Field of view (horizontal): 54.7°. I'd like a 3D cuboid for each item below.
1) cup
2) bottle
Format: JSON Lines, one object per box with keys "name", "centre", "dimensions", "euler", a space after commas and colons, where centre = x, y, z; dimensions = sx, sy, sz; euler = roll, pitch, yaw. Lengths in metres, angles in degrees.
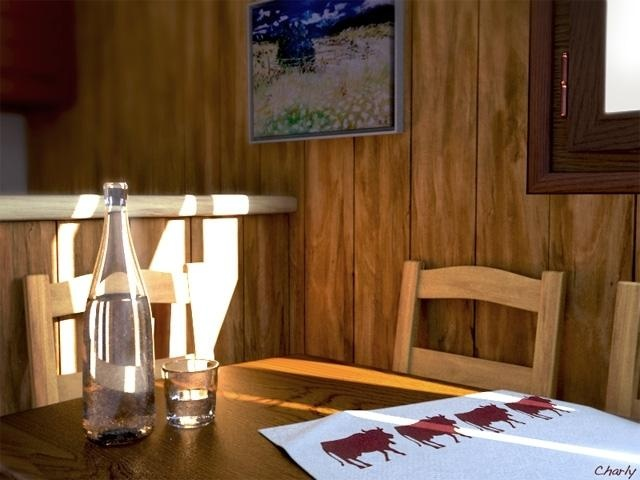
{"name": "cup", "centre": [-0.249, 0.294, 1.186], "dimensions": [0.102, 0.115, 0.116], "euler": [2, 2, 24]}
{"name": "bottle", "centre": [-0.355, 0.133, 1.081], "dimensions": [0.110, 0.457, 0.073], "euler": [-3, 7, -22]}
